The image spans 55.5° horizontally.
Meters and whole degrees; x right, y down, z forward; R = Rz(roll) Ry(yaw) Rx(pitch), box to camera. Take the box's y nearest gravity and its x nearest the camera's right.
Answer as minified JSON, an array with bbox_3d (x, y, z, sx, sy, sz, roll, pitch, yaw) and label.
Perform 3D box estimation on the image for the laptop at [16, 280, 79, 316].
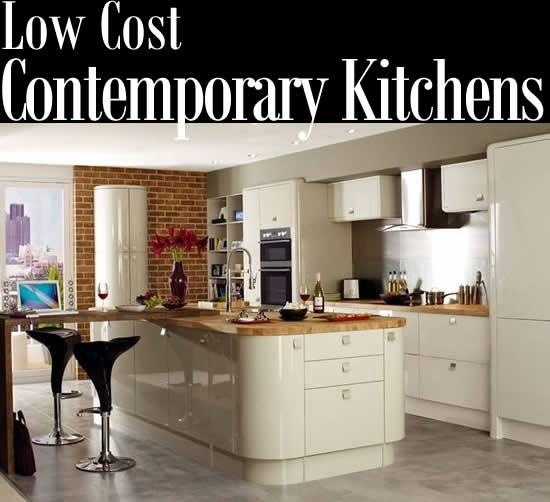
[{"bbox_3d":[-1.588,0.308,3.576,0.297,0.205,0.243,0,0,-28],"label":"laptop"}]

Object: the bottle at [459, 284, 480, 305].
[{"bbox_3d":[1.804,0.417,4.906,0.151,0.212,0.208,3,-5,-24],"label":"bottle"}]

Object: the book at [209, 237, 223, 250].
[{"bbox_3d":[-0.859,-0.102,7.823,0.214,0.214,0.157,3,-5,-40],"label":"book"}]

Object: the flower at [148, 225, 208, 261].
[{"bbox_3d":[-0.831,-0.046,4.465,0.502,0.329,0.484,2,8,43],"label":"flower"}]

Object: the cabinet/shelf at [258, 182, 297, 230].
[{"bbox_3d":[0.047,-0.542,6.324,0.195,0.521,0.565,2,-2,-33],"label":"cabinet/shelf"}]

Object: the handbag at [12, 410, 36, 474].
[{"bbox_3d":[-1.559,1.230,3.261,0.118,0.357,0.116,0,0,-19],"label":"handbag"}]

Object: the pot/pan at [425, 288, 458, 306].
[{"bbox_3d":[1.645,0.455,5.166,0.320,0.148,0.133,6,-8,-31],"label":"pot/pan"}]

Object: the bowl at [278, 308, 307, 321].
[{"bbox_3d":[0.121,0.403,3.340,0.164,0.091,0.159,0,0,0],"label":"bowl"}]

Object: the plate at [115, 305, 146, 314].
[{"bbox_3d":[-1.036,0.418,3.801,0.218,0.039,0.219,0,0,-17],"label":"plate"}]

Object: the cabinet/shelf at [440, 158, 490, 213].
[{"bbox_3d":[1.699,-0.579,4.698,0.357,0.480,0.547,1,-2,-29],"label":"cabinet/shelf"}]

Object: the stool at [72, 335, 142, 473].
[{"bbox_3d":[-1.100,0.995,3.442,0.397,0.872,0.418,0,0,-21],"label":"stool"}]

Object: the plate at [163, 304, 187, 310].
[{"bbox_3d":[-0.773,0.419,4.010,0.153,0.053,0.119,0,0,-12],"label":"plate"}]

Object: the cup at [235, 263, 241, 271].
[{"bbox_3d":[-0.519,0.241,7.458,0.069,0.126,0.128,4,-6,-37],"label":"cup"}]

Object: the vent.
[{"bbox_3d":[1.572,-0.458,5.431,0.585,0.550,0.411,2,-11,6],"label":"vent"}]
